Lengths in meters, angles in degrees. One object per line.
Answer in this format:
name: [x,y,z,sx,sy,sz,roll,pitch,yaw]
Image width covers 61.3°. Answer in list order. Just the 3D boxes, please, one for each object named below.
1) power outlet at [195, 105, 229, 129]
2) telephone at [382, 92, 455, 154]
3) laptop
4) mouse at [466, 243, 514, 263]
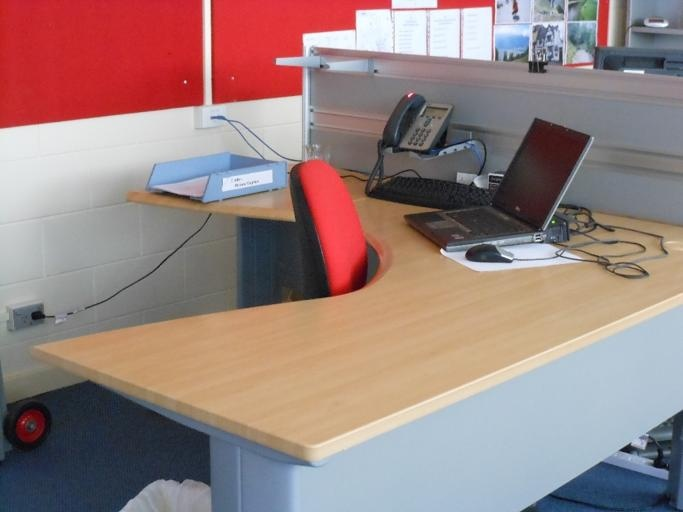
power outlet: [-0.673,-0.706,2.939,0.038,0.111,0.176,21,28,40]
telephone: [0.316,-0.532,2.294,0.247,0.099,0.297,8,51,25]
laptop: [0.535,-0.224,1.846,0.555,0.363,0.393,-6,22,-19]
mouse: [0.410,-0.009,1.589,0.096,0.032,0.056,0,20,1]
